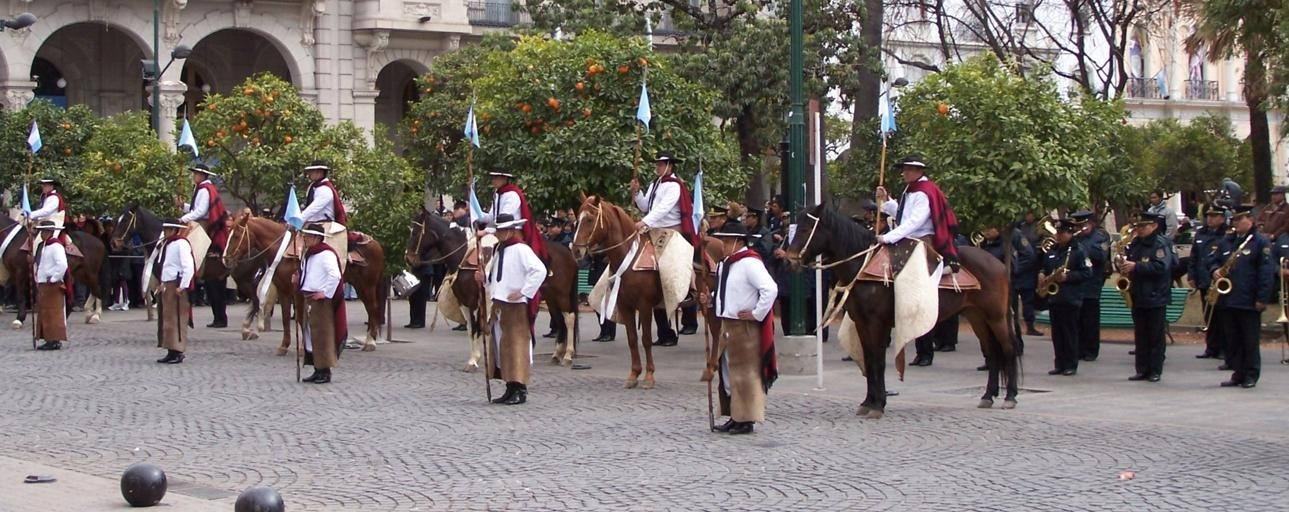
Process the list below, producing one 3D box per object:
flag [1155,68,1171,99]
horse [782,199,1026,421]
[{"bbox_3d":[33.867,-11.323,110.789,0.654,1.812,1.718,1,1,16],"label":"flag"},{"bbox_3d":[9.450,2.096,62.894,11.388,7.108,2.609,0,0,-17],"label":"horse"}]
